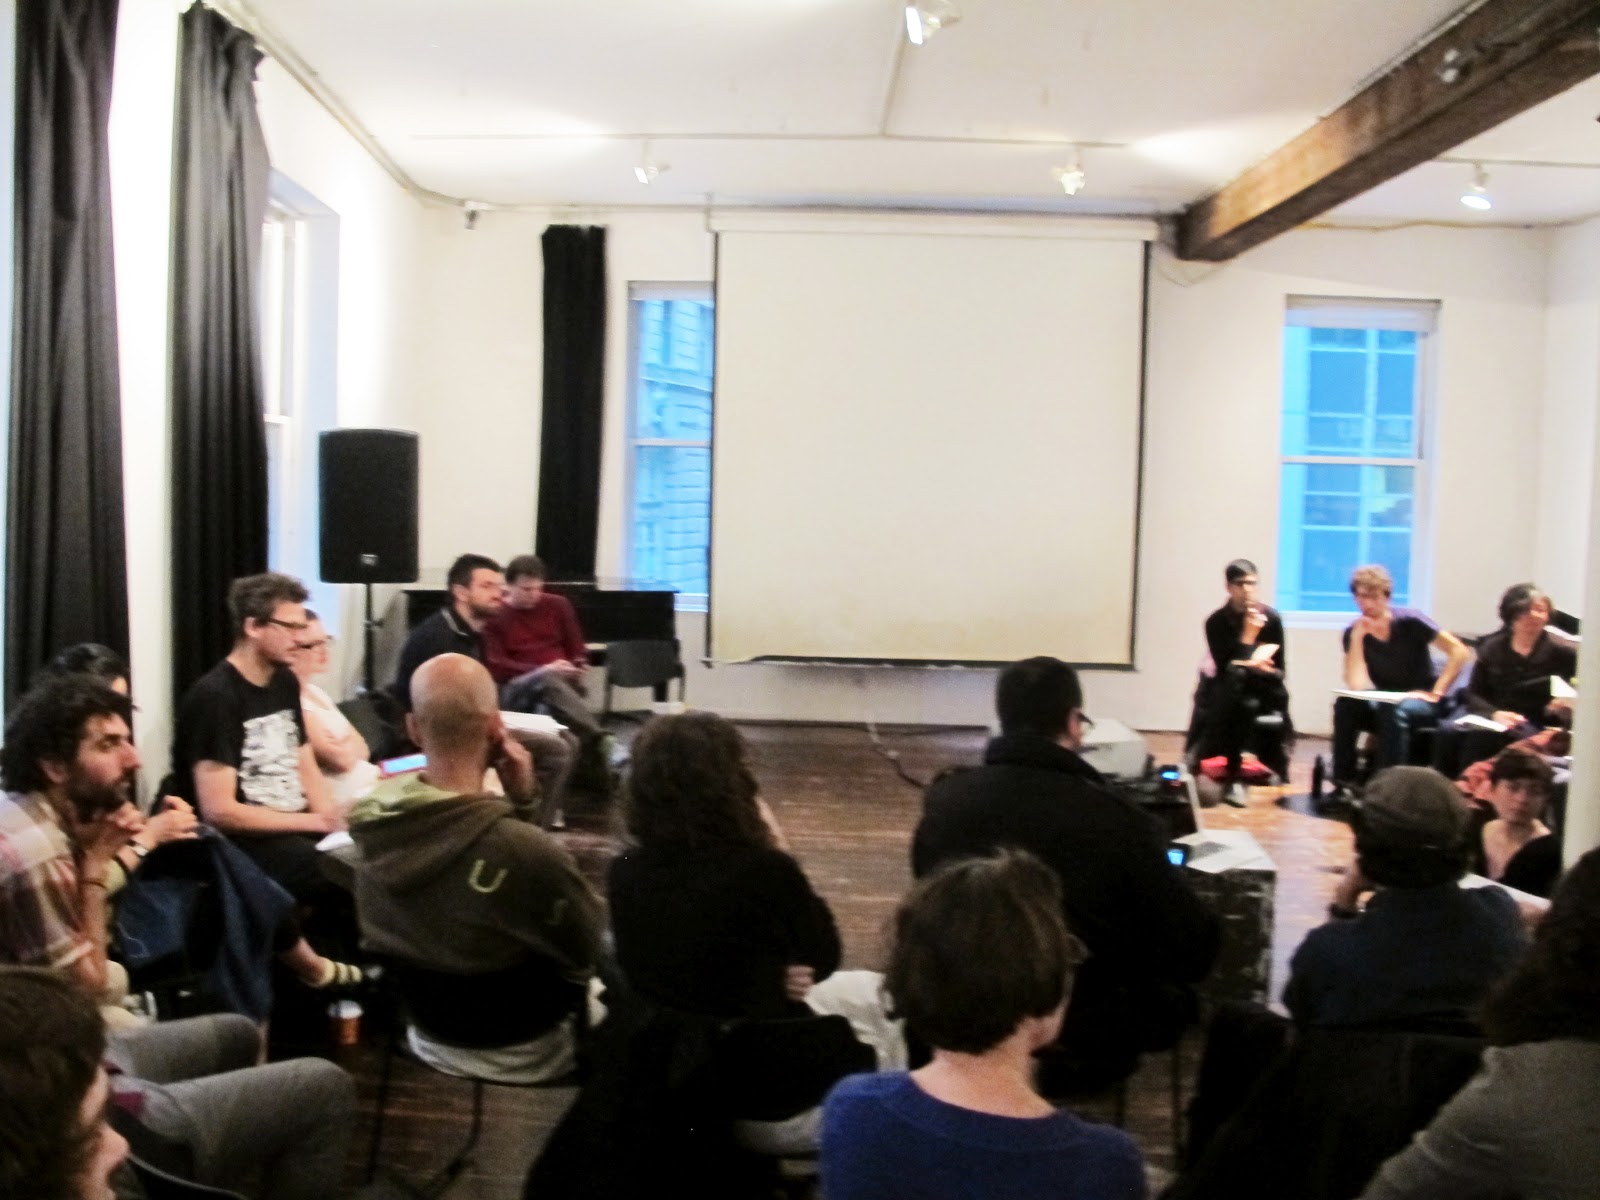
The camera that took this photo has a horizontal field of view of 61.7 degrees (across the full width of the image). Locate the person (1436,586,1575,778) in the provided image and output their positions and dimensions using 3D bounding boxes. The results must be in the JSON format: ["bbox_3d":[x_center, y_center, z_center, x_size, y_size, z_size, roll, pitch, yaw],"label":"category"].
[{"bbox_3d":[3.376,0.398,6.422,0.544,0.897,0.913,5,5,28],"label":"person"}]

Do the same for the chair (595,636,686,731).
[{"bbox_3d":[-0.933,0.461,7.668,0.489,0.586,0.452,0,-7,-14],"label":"chair"}]

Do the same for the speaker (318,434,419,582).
[{"bbox_3d":[-2.074,-0.446,6.409,0.466,0.723,0.210,2,5,-11],"label":"speaker"}]

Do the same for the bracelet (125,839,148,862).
[{"bbox_3d":[-1.719,0.661,3.482,0.049,0.047,0.013,-1,-8,-6],"label":"bracelet"}]
